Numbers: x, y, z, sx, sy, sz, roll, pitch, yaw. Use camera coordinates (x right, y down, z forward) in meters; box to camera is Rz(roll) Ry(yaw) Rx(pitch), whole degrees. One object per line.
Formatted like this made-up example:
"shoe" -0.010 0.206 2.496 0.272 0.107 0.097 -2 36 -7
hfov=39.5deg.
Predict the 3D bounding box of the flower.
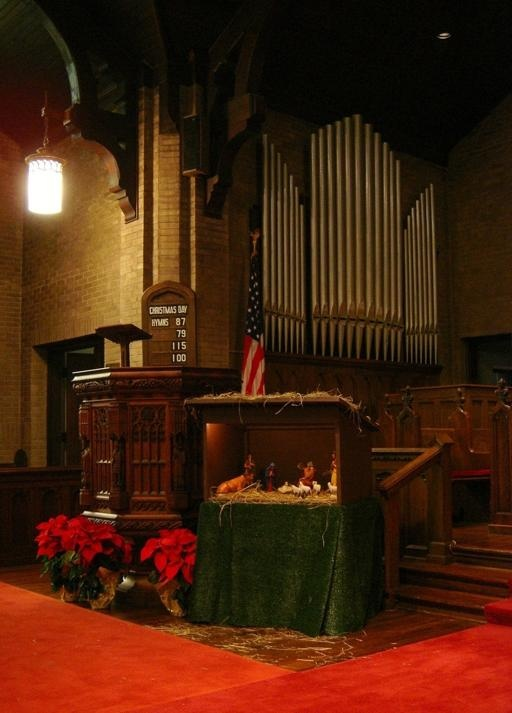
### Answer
"flower" -0.940 1.342 4.764 0.901 0.515 0.697 8 -11 -14
